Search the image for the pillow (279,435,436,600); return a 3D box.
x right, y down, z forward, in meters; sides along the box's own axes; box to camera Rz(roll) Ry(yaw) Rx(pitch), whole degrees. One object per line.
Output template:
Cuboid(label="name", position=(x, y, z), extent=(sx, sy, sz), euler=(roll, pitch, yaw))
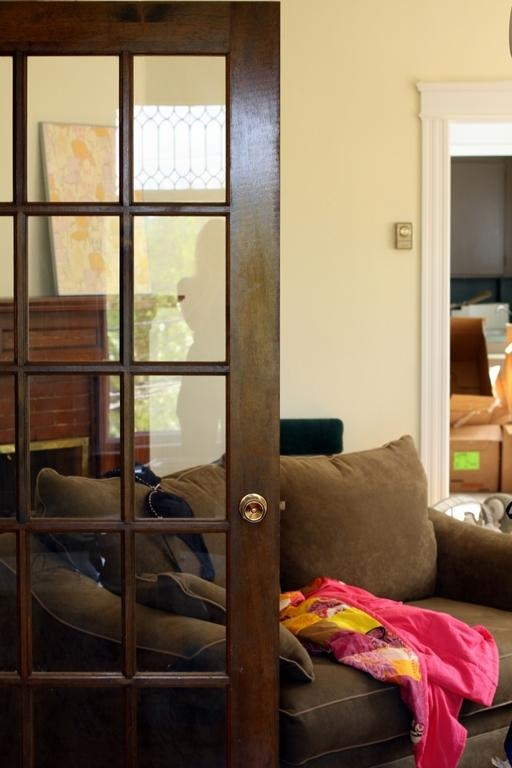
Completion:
Cuboid(label="pillow", position=(0.292, 0.440, 2.260), extent=(0.528, 0.549, 0.297), euler=(-4, -11, -6))

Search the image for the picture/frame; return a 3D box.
Cuboid(label="picture/frame", position=(-0.314, -0.335, 1.429), extent=(0.199, 0.324, 0.027), euler=(0, 4, 4))
